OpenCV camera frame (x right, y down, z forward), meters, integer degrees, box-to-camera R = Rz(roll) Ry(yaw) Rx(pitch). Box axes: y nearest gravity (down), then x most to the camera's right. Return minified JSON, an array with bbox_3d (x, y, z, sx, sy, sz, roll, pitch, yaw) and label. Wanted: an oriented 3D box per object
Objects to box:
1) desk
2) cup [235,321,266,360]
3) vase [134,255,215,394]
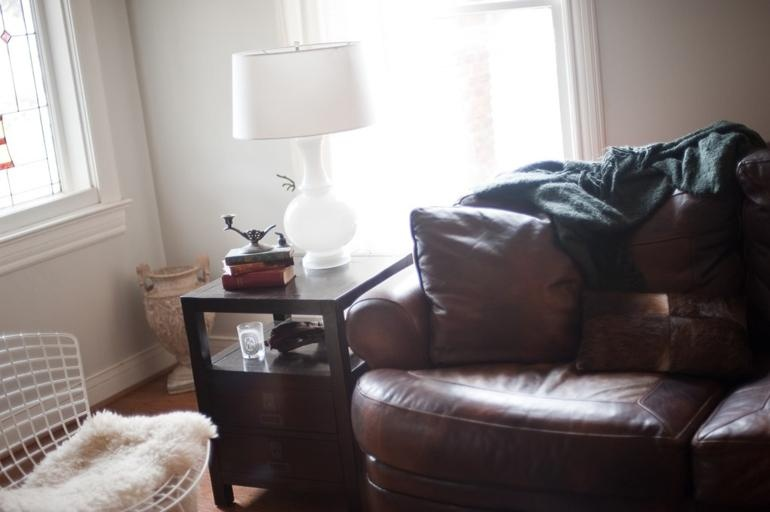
[{"bbox_3d":[-0.164,0.460,2.733,0.765,0.961,1.060,-1,13,15],"label":"desk"},{"bbox_3d":[-0.544,0.359,2.597,0.141,0.155,0.143,-5,0,0],"label":"cup"},{"bbox_3d":[-1.165,0.392,3.527,0.429,0.703,0.400,-9,6,-15],"label":"vase"}]
